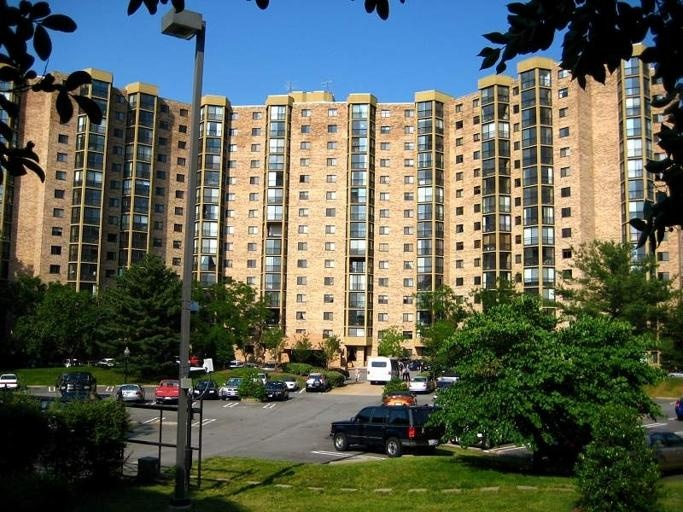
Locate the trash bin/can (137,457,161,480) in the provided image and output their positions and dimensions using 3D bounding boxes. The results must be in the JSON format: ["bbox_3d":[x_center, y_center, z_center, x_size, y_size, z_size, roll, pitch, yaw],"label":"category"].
[{"bbox_3d":[-6.104,6.750,28.837,0.772,0.635,0.702,0,0,-8],"label":"trash bin/can"}]

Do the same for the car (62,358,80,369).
[{"bbox_3d":[-27.104,10.791,90.805,1.189,0.926,1.966,1,-9,-13],"label":"car"}]

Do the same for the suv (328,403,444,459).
[{"bbox_3d":[1.816,7.020,36.966,4.354,1.578,2.131,-2,-7,39],"label":"suv"}]

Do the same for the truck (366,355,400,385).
[{"bbox_3d":[3.802,10.195,81.008,2.660,2.051,4.320,-1,-2,11],"label":"truck"}]
